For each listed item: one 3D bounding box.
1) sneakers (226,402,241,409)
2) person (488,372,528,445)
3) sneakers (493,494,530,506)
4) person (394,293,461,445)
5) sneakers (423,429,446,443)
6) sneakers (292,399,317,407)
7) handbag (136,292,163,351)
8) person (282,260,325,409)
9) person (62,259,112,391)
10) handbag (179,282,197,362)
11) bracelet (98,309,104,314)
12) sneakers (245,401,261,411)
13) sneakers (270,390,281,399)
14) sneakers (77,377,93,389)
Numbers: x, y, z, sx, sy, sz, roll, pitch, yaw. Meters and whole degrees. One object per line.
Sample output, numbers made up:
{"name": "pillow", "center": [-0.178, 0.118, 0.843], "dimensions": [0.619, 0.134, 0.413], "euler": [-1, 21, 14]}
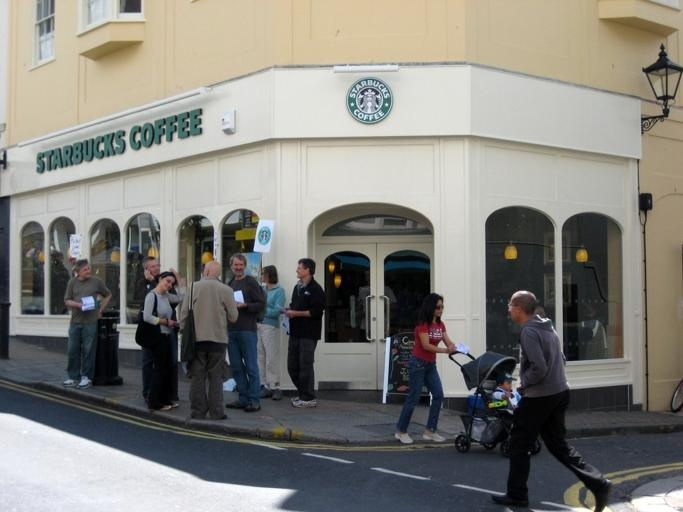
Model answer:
{"name": "sneakers", "center": [-1.886, 2.607, 16.391], "dimensions": [0.270, 0.121, 0.106], "euler": [2, 0, 2]}
{"name": "person", "center": [2.563, 2.321, 14.363], "dimensions": [0.591, 1.102, 0.732], "euler": [1, -3, 21]}
{"name": "sneakers", "center": [2.219, 3.157, 12.225], "dimensions": [0.437, 0.213, 0.173], "euler": [4, -7, 11]}
{"name": "person", "center": [1.334, 1.772, 14.691], "dimensions": [0.871, 2.373, 0.590], "euler": [2, 4, -7]}
{"name": "sneakers", "center": [1.480, 2.884, 14.979], "dimensions": [0.368, 0.182, 0.156], "euler": [5, 5, -4]}
{"name": "sneakers", "center": [-0.661, 2.599, 16.514], "dimensions": [0.397, 0.207, 0.156], "euler": [5, -4, 0]}
{"name": "handbag", "center": [-3.355, 1.303, 16.054], "dimensions": [0.384, 0.691, 0.460], "euler": [0, 5, -30]}
{"name": "person", "center": [-0.679, 1.346, 16.634], "dimensions": [0.676, 2.587, 0.593], "euler": [3, 4, 8]}
{"name": "person", "center": [-4.874, 1.271, 17.780], "dimensions": [0.767, 2.343, 0.782], "euler": [1, 4, -18]}
{"name": "handbag", "center": [-2.526, 1.085, 15.373], "dimensions": [0.227, 1.238, 0.229], "euler": [0, 4, -27]}
{"name": "bracelet", "center": [-4.612, 1.058, 17.898], "dimensions": [0.078, 0.088, 0.083], "euler": [-1, -7, 12]}
{"name": "sneakers", "center": [-1.527, 2.576, 16.149], "dimensions": [0.265, 0.170, 0.292], "euler": [2, 5, -5]}
{"name": "sneakers", "center": [-1.196, 2.529, 17.209], "dimensions": [0.188, 0.176, 0.310], "euler": [2, 5, -6]}
{"name": "sneakers", "center": [-4.847, 2.382, 17.578], "dimensions": [0.248, 0.176, 0.435], "euler": [2, 5, -7]}
